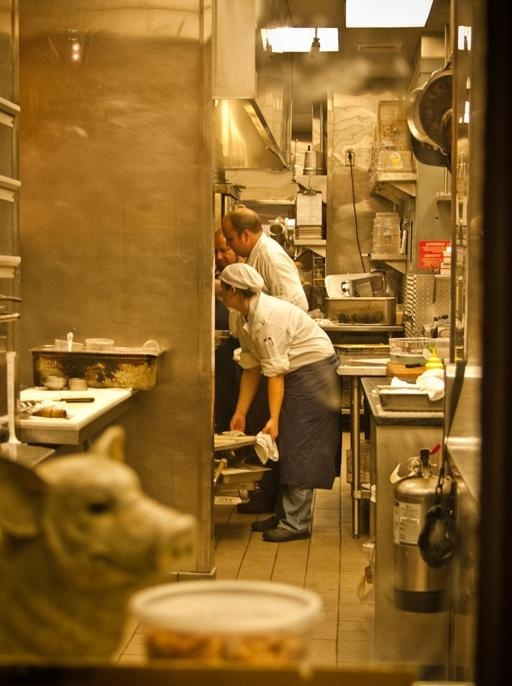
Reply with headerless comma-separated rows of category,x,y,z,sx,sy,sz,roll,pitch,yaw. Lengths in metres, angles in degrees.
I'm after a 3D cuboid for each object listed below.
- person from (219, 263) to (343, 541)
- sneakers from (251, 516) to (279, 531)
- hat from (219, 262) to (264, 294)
person,0.120,0.318,3.503,0.656,1.172,0.696,6,-3,12
sneakers,0.045,0.949,3.499,0.153,0.070,0.052,3,-4,-41
hat,-0.067,-0.305,3.348,0.172,0.097,0.136,8,34,-27
